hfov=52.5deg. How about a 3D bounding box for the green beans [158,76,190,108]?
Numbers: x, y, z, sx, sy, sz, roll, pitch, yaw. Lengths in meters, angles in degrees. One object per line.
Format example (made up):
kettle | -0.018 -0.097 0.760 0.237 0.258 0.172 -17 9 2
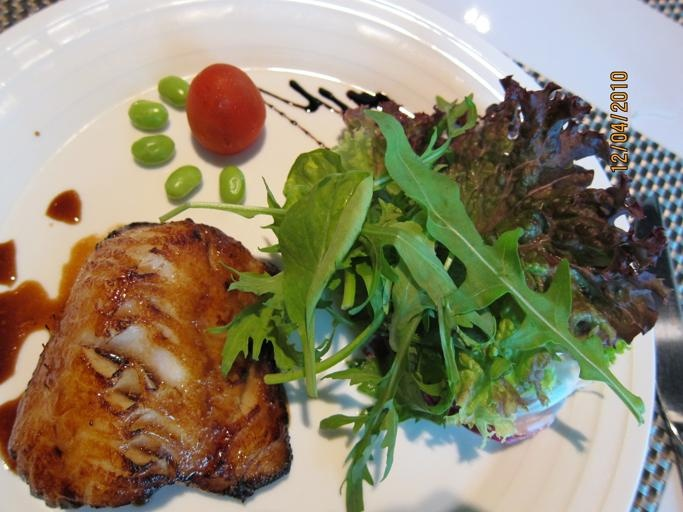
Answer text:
green beans | -1.111 -1.121 4.580 0.234 0.135 0.193 -3 19 -10
